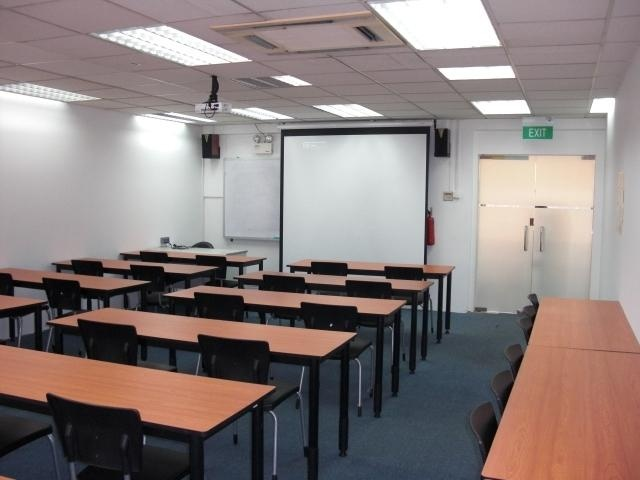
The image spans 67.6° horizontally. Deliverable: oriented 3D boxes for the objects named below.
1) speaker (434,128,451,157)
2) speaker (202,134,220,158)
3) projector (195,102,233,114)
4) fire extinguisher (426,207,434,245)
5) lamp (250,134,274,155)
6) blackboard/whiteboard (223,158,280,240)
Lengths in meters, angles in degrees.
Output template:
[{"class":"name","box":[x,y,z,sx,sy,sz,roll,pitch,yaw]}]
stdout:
[{"class":"speaker","box":[2.265,-1.818,8.856,0.309,0.535,0.189,3,8,11]},{"class":"speaker","box":[-2.372,-2.040,10.332,0.389,0.520,0.258,0,7,-11]},{"class":"projector","box":[-1.286,-1.654,5.907,0.460,0.147,0.325,3,7,12]},{"class":"fire extinguisher","box":[2.075,-0.225,8.994,0.159,0.672,0.231,3,8,18]},{"class":"lamp","box":[-1.194,-2.029,10.048,0.456,0.448,0.149,2,4,15]},{"class":"blackboard/whiteboard","box":[-1.410,-0.920,10.171,1.814,2.293,0.172,0,-1,13]}]
